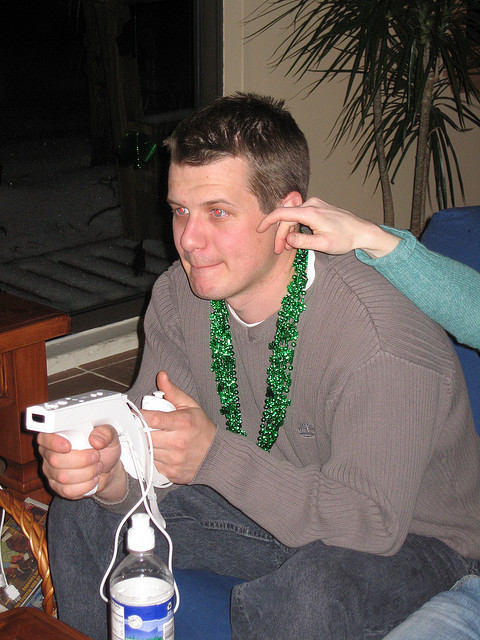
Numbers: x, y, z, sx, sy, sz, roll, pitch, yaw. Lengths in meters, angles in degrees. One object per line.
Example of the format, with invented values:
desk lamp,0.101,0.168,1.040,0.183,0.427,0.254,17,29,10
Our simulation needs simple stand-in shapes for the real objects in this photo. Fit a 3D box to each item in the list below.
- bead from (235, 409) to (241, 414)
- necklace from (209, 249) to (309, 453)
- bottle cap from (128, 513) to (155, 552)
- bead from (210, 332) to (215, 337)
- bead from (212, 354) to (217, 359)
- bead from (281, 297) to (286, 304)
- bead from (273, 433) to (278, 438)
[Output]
bead,-0.005,0.183,1.093,0.011,0.005,0.013,-7,4,-1
necklace,0.037,0.061,1.058,0.237,0.351,0.081,1,-5,10
bottle cap,-0.103,0.221,0.570,0.027,0.040,0.024,-4,17,-13
bead,-0.055,0.028,1.094,0.008,0.007,0.003,-7,-10,33
bead,-0.051,0.073,1.089,0.011,0.007,0.010,-3,5,-8
bead,0.078,-0.034,1.002,0.004,0.010,0.008,11,10,2
bead,0.066,0.214,1.020,0.008,0.008,0.004,0,-15,-1
